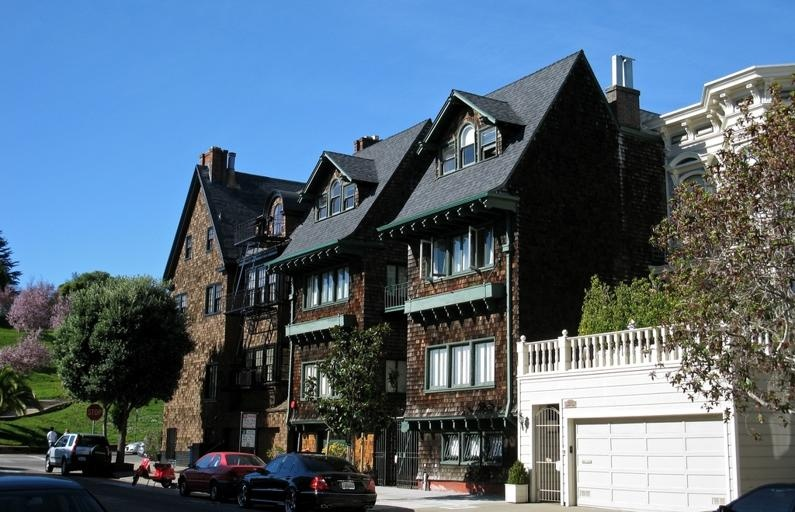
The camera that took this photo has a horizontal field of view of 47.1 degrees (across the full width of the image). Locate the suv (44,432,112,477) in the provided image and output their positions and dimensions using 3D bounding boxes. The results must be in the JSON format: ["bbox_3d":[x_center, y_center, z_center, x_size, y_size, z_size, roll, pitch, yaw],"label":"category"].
[{"bbox_3d":[-17.749,11.068,50.533,4.530,2.360,2.696,-11,-22,31],"label":"suv"}]

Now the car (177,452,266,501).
[{"bbox_3d":[-7.730,9.457,39.308,1.969,1.516,4.200,8,-12,-34],"label":"car"}]

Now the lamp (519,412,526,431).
[{"bbox_3d":[5.254,6.981,38.293,0.203,0.554,0.390,5,-8,-39],"label":"lamp"}]

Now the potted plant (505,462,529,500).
[{"bbox_3d":[4.934,9.272,37.419,0.975,1.663,0.441,-2,-17,8],"label":"potted plant"}]
